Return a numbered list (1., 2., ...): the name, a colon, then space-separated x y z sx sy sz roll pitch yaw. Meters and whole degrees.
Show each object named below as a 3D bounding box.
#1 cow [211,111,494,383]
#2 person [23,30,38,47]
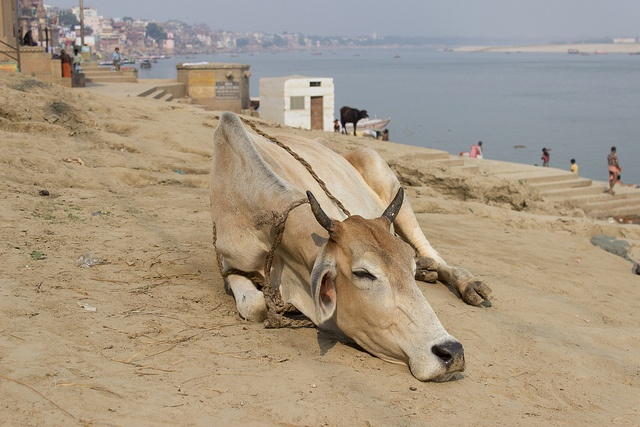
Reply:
1. cow: 0.355 0.528 14.817 3.236 2.733 5.176 -22 30 -20
2. person: -9.681 -5.714 31.350 0.587 0.348 0.812 2 15 -28
